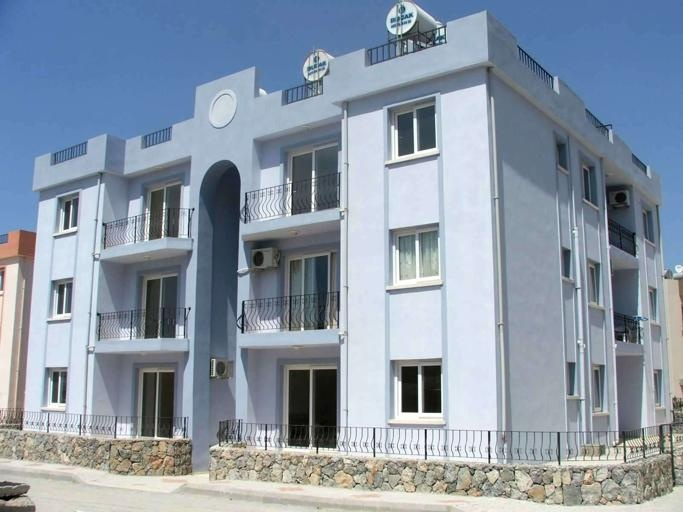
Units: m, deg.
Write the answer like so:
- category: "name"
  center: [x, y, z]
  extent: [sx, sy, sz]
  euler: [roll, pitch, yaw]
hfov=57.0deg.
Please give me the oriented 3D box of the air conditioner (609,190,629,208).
- category: "air conditioner"
  center: [11.781, -2.402, 26.632]
  extent: [0.510, 0.566, 0.263]
  euler: [-9, -16, 35]
